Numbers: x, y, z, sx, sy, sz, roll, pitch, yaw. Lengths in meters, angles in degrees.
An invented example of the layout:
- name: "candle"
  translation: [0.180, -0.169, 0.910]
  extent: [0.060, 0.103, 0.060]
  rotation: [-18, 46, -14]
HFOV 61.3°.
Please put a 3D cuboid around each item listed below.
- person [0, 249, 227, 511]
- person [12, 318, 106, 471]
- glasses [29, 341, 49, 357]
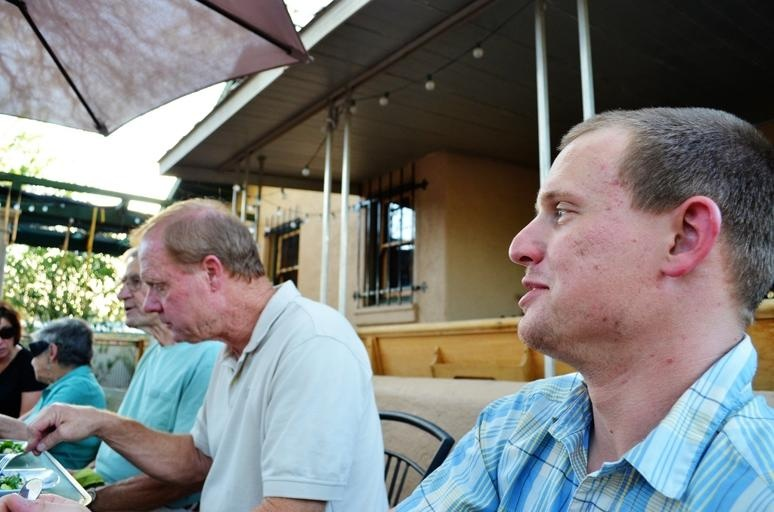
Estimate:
- name: "person"
  translation: [-1.269, 0.752, 3.556]
  extent: [1.087, 1.587, 1.160]
  rotation: [12, -17, -24]
- name: "person"
  translation: [-2.230, 0.920, 4.494]
  extent: [0.509, 0.967, 0.932]
  rotation: [2, -2, -29]
- name: "glasses"
  translation: [-2.439, 0.639, 4.577]
  extent: [0.151, 0.118, 0.154]
  rotation: [2, -6, -4]
